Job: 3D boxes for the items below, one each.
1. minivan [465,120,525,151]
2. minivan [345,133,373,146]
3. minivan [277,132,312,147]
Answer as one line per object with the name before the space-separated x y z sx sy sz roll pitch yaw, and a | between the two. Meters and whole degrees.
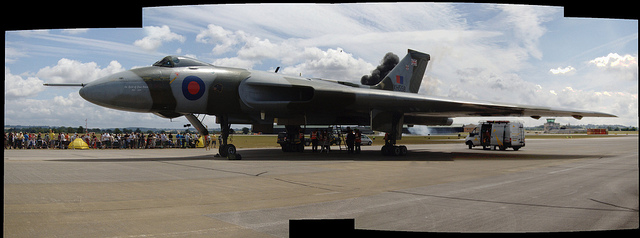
minivan | 20.732 1.938 40.808 3.633 2.190 5.788 3 -4 -34
minivan | 5.185 2.775 46.992 3.709 1.106 1.750 -2 4 -2
minivan | -2.657 2.239 37.648 3.559 1.199 1.887 3 -7 -21
